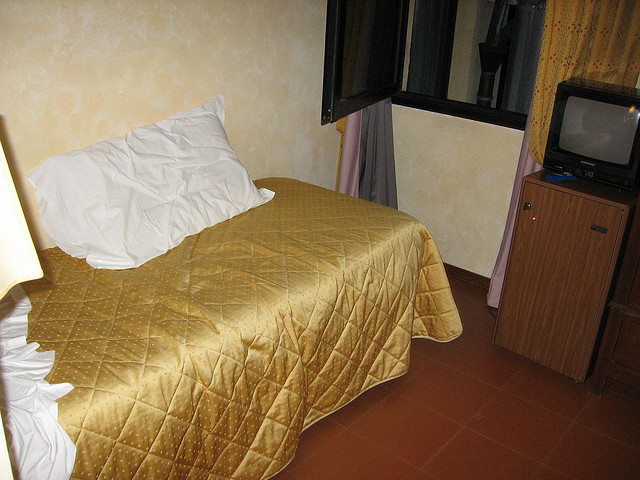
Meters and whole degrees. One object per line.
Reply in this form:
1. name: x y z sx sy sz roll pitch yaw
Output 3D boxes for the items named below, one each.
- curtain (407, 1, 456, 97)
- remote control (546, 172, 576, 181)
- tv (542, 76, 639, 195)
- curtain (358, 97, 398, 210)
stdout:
1. curtain: 0.826 -1.456 3.546 0.282 0.603 0.113 7 30 15
2. remote control: 1.305 -0.350 2.578 0.080 0.010 0.084 -2 28 10
3. tv: 1.433 -0.540 2.476 0.301 0.473 0.385 -28 39 -37
4. curtain: 0.439 -0.633 3.482 0.305 0.758 0.280 -7 29 -10
